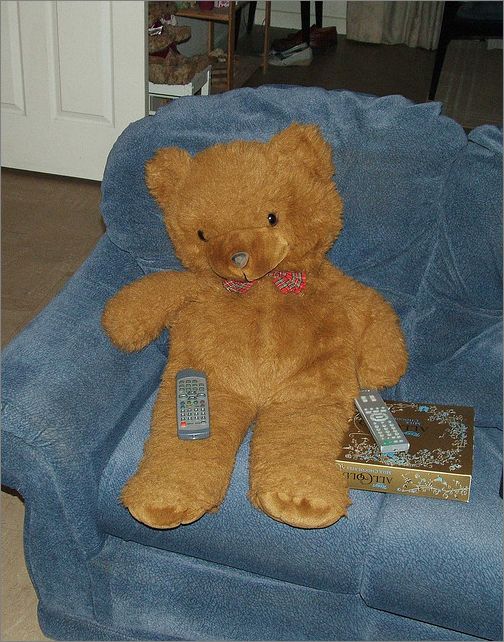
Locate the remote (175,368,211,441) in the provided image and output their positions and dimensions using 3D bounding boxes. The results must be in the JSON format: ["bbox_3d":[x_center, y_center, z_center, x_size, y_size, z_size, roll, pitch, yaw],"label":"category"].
[{"bbox_3d":[-0.111,0.136,1.043,0.051,0.028,0.113,0,39,-4],"label":"remote"}]

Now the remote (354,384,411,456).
[{"bbox_3d":[0.217,0.169,1.041,0.047,0.017,0.146,-8,35,-9],"label":"remote"}]

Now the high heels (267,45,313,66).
[{"bbox_3d":[0.250,-1.761,4.032,0.282,0.104,0.136,7,48,5],"label":"high heels"}]
